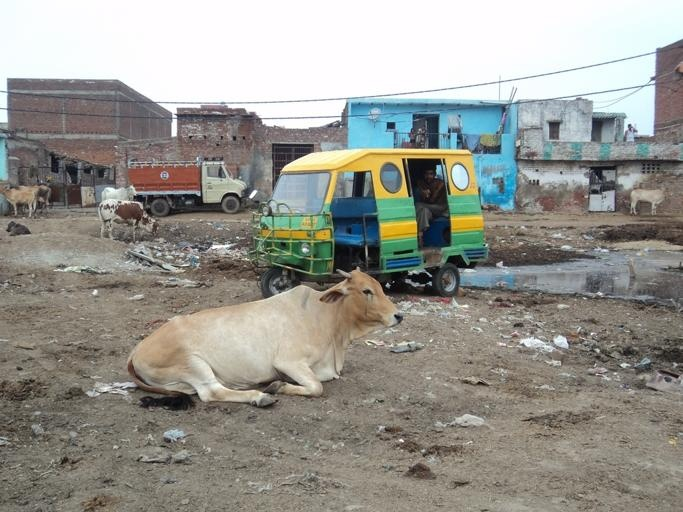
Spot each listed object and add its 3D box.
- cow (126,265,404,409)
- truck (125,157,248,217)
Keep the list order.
[{"bbox_3d":[-0.794,0.700,5.726,2.995,1.132,1.184,0,9,-24],"label":"cow"},{"bbox_3d":[-7.419,-3.271,26.542,4.848,2.618,0.896,-1,14,-18],"label":"truck"}]
